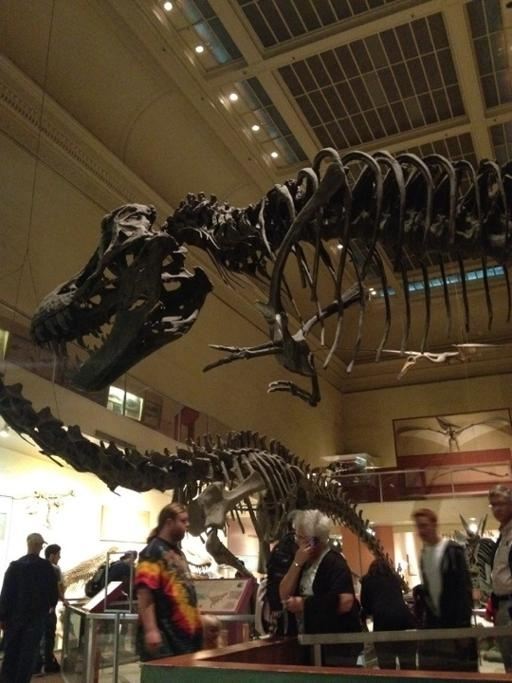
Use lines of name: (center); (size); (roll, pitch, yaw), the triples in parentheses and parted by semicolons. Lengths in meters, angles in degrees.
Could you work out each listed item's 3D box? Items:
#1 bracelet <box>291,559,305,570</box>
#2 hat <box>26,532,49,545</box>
bracelet: (0.179, 0.969, 2.241); (0.044, 0.046, 0.048); (6, -50, 14)
hat: (-1.816, 1.671, 4.301); (0.125, 0.089, 0.174); (1, -6, 1)
